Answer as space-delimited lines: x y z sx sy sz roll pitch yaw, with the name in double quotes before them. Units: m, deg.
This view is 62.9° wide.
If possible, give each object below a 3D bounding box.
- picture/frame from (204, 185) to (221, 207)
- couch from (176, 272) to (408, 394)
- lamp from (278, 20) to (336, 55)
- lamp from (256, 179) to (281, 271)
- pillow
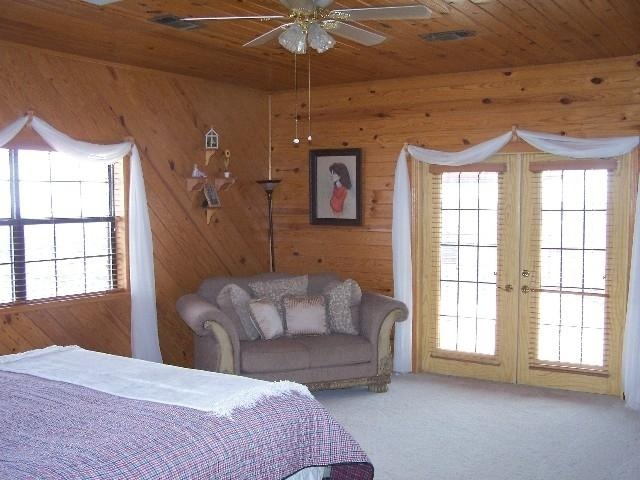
"picture/frame" -1.263 -0.516 6.135 0.195 0.267 0.220 3 7 -14
"couch" -0.230 0.993 5.468 2.156 0.731 0.892 2 11 -14
"lamp" -0.121 -1.265 3.310 0.422 0.092 0.401 -1 10 31
"lamp" -0.652 -0.177 6.643 0.298 1.227 0.843 5 7 -5
"pillow" -0.337 0.512 5.636 1.566 0.436 0.688 -1 -1 -15
